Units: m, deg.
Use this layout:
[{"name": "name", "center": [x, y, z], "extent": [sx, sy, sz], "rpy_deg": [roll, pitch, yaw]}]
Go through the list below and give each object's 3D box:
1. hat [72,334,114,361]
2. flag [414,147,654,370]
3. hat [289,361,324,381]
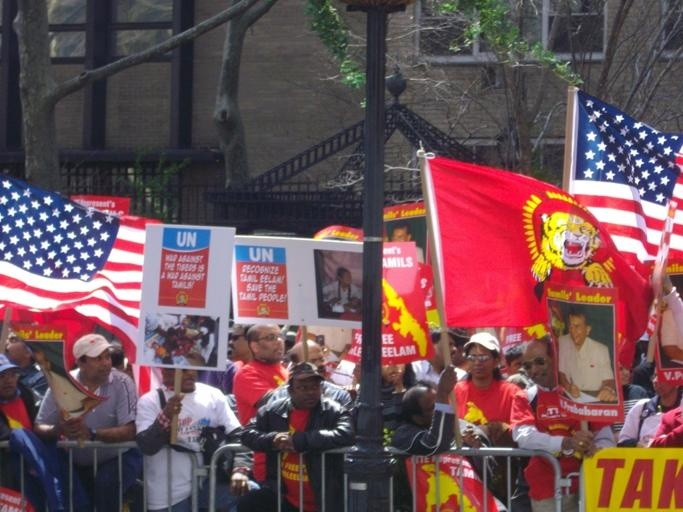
[{"name": "hat", "center": [-3.250, 1.169, 25.101], "extent": [0.393, 0.208, 0.302], "rpy_deg": [-27, -6, 29]}, {"name": "flag", "center": [2.527, 0.066, 24.906], "extent": [2.908, 2.833, 0.271], "rpy_deg": [4, -14, -2]}, {"name": "hat", "center": [-0.456, 1.470, 24.832], "extent": [0.446, 0.261, 0.308], "rpy_deg": [1, -9, -3]}]
